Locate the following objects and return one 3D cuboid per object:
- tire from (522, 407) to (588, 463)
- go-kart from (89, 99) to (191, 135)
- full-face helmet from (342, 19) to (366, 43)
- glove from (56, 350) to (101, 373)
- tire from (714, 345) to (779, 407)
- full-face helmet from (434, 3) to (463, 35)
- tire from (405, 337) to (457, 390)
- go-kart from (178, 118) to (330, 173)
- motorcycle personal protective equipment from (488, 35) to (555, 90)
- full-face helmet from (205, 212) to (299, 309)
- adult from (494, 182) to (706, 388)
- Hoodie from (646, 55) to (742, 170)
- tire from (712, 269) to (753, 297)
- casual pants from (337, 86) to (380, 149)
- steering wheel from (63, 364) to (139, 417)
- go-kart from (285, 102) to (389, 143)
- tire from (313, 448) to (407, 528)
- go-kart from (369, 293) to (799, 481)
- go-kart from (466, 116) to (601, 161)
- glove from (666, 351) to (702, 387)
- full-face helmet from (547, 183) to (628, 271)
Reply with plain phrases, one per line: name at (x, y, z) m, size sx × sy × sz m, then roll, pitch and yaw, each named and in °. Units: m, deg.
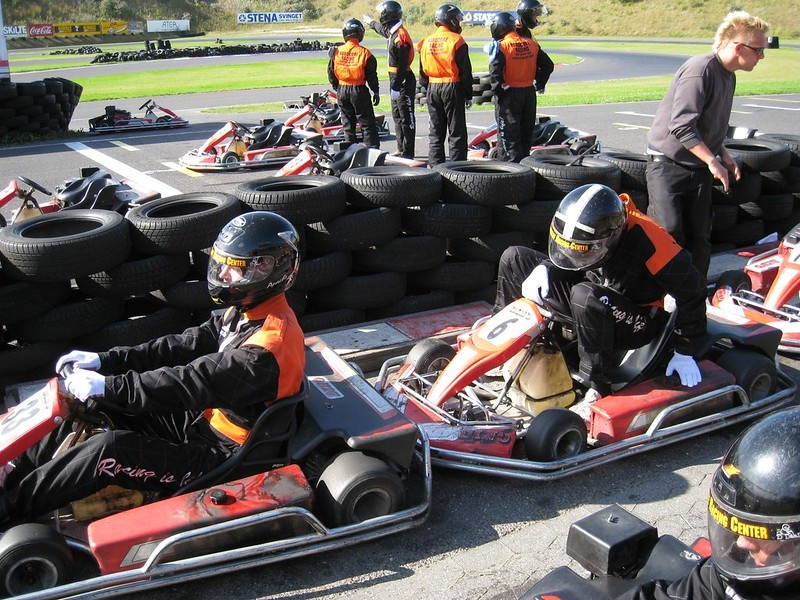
tire at (0.848, 0.764, 3.642) m, size 0.397 × 0.342 × 0.160 m, roll -5°, pitch 13°, yaw -39°
go-kart at (-5.205, -3.541, 13.461) m, size 1.695 × 0.468 × 0.945 m, roll -4°, pitch 10°, yaw -19°
full-face helmet at (-0.669, -4.029, 10.067) m, size 0.426 × 0.393 × 0.461 m, roll 6°, pitch 25°, yaw 5°
glove at (-1.499, 0.273, 3.145) m, size 0.141 × 0.044 × 0.134 m, roll -3°, pitch 3°, yaw -32°
tire at (2.103, 0.473, 4.121) m, size 0.376 × 0.326 × 0.197 m, roll -6°, pitch 16°, yaw -41°
full-face helmet at (0.596, -3.441, 8.285) m, size 0.325 × 0.318 × 0.441 m, roll 20°, pitch 18°, yaw 41°
tire at (0.186, 0.394, 4.060) m, size 0.230 × 0.213 × 0.098 m, roll -31°, pitch 28°, yaw -19°
go-kart at (-2.333, -2.337, 10.331) m, size 1.599 × 0.468 × 1.145 m, roll -7°, pitch 19°, yaw -26°
motorcycle personal protective equipment at (1.342, -2.736, 7.814) m, size 0.826 × 0.634 × 0.289 m, roll -16°, pitch 21°, yaw -22°
full-face helmet at (-0.649, -0.204, 3.242) m, size 0.508 × 0.352 × 0.379 m, roll -18°, pitch 27°, yaw -27°
adult at (1.237, -0.085, 4.086) m, size 1.041 × 1.010 × 1.359 m, roll -17°, pitch 26°, yaw -38°
Hoodie at (2.024, -1.337, 4.784) m, size 0.506 × 0.750 × 0.579 m, roll 14°, pitch 32°, yaw 27°
tire at (2.668, -0.132, 5.405) m, size 0.239 × 0.209 × 0.091 m, roll -12°, pitch 29°, yaw -29°
casual pants at (-0.610, -2.751, 9.859) m, size 0.534 × 1.067 × 0.327 m, roll 20°, pitch 58°, yaw 21°
steering wheel at (-1.341, 0.380, 2.927) m, size 0.317 × 0.099 × 0.222 m, roll 23°, pitch -1°, yaw -27°
go-kart at (-1.226, -3.251, 12.277) m, size 2.111 × 0.706 × 1.330 m, roll -5°, pitch 21°, yaw 0°
tire at (-0.184, 0.935, 3.210) m, size 0.414 × 0.350 × 0.230 m, roll -6°, pitch 18°, yaw -25°
go-kart at (1.118, 0.577, 3.894) m, size 1.917 × 0.499 × 1.183 m, roll -4°, pitch 15°, yaw -25°
go-kart at (2.048, -2.239, 9.501) m, size 2.254 × 0.620 × 1.300 m, roll -1°, pitch 19°, yaw -8°
glove at (1.662, 0.405, 3.936) m, size 0.178 × 0.194 × 0.061 m, roll 11°, pitch -15°, yaw -13°
full-face helmet at (1.029, -0.365, 3.728) m, size 0.318 × 0.500 × 0.374 m, roll 17°, pitch 33°, yaw 31°
